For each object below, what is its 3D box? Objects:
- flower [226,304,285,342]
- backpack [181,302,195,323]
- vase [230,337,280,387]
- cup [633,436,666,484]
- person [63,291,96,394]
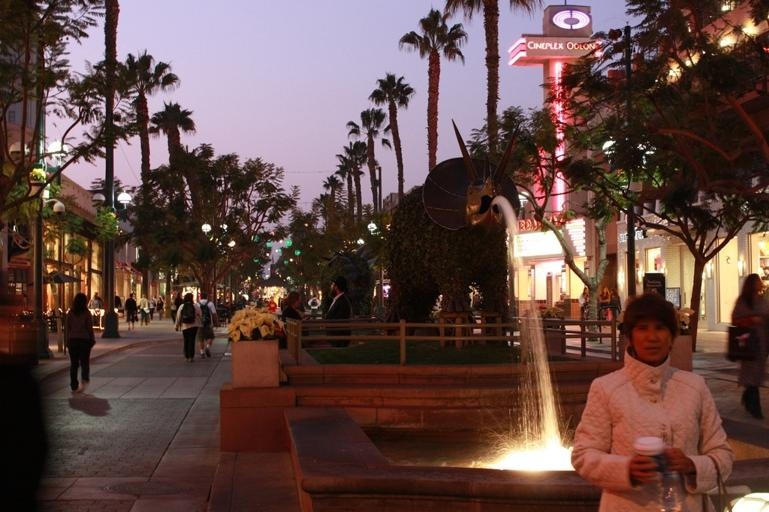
[{"bbox_3d":[-2.220,1.284,11.366,1.297,0.868,0.510,1,-2,-10],"label":"flower"},{"bbox_3d":[-6.412,1.827,21.391,0.446,0.684,0.424,-1,-4,-9],"label":"backpack"},{"bbox_3d":[-2.149,1.786,10.965,0.729,0.775,0.258,-2,-4,-2],"label":"vase"},{"bbox_3d":[1.775,1.344,4.388,0.203,0.294,0.142,-2,-4,6],"label":"cup"},{"bbox_3d":[-7.168,2.011,15.481,0.564,2.294,0.754,0,-5,-26],"label":"person"}]
